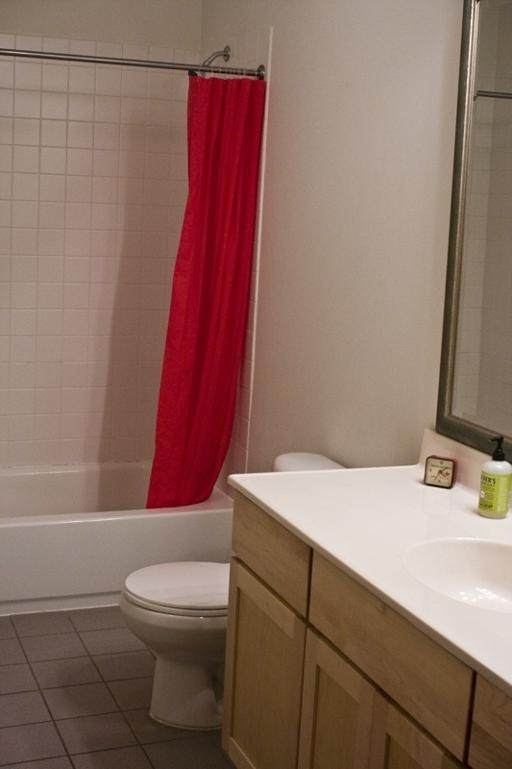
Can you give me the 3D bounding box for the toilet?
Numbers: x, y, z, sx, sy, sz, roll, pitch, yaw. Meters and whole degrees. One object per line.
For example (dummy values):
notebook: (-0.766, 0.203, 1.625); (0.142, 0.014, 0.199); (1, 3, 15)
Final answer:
toilet: (-0.096, 0.585, 1.723); (0.518, 0.668, 0.313); (2, 2, 0)
